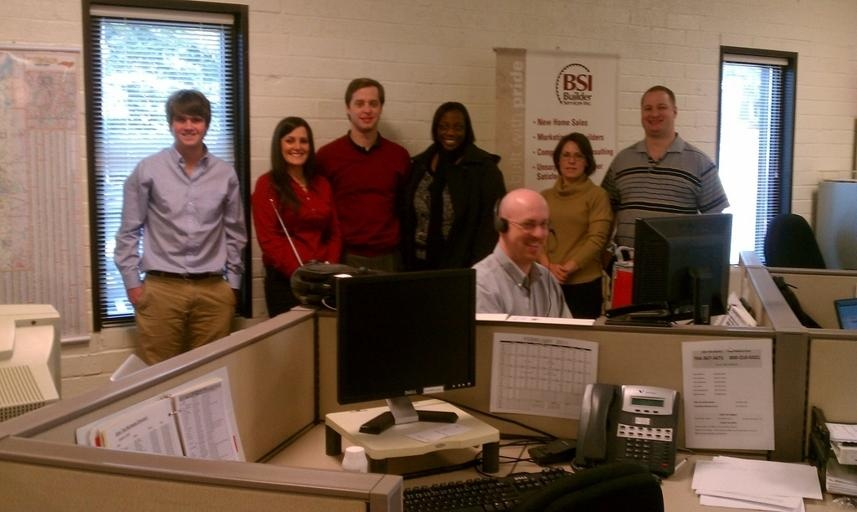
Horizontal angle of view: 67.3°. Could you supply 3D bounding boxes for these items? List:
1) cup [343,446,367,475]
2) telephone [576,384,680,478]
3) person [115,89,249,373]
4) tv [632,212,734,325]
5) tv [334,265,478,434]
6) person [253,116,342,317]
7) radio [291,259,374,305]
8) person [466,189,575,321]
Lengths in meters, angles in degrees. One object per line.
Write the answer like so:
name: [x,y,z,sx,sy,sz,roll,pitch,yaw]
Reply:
cup: [-0.252,0.728,2.289,0.104,0.081,0.097,1,-3,0]
telephone: [0.762,0.672,2.480,0.396,0.321,0.143,2,-18,17]
person: [-1.489,-0.167,3.928,0.752,1.659,0.238,-2,9,-14]
tv: [1.130,0.060,2.885,0.609,0.493,0.200,-2,9,-15]
tv: [-0.077,0.369,2.505,0.743,0.636,0.256,-3,5,-25]
person: [-0.813,-0.247,4.052,0.512,1.241,0.396,2,9,13]
radio: [-0.377,0.101,2.826,0.400,0.136,0.305,3,12,43]
person: [0.407,0.006,3.065,0.592,0.632,0.239,-8,12,-44]
